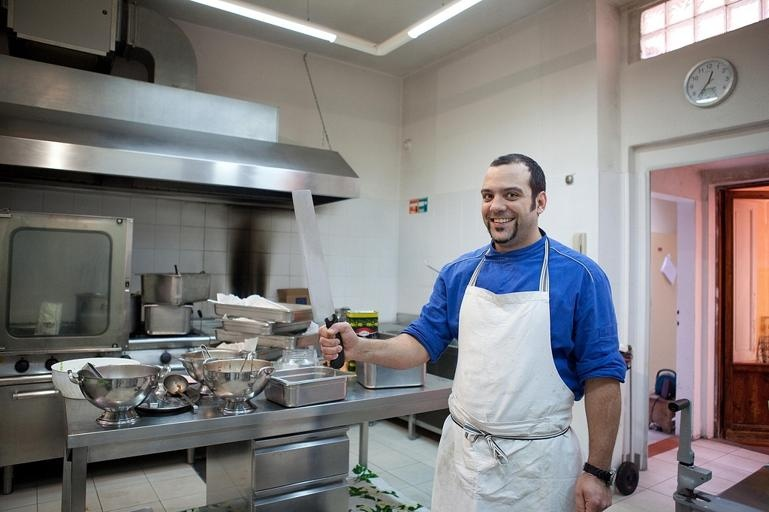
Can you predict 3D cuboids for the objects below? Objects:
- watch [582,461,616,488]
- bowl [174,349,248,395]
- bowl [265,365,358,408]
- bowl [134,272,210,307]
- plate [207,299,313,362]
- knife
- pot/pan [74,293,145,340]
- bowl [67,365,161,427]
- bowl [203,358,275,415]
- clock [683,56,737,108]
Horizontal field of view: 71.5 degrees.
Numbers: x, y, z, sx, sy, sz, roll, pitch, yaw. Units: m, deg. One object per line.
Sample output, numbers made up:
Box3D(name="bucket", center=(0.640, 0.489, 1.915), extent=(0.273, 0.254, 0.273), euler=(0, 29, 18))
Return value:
Box3D(name="watch", center=(1.027, 1.041, 2.567), extent=(0.119, 0.060, 0.117), euler=(22, -11, -7))
Box3D(name="bowl", center=(-1.114, 0.677, 3.185), extent=(0.214, 0.135, 0.305), euler=(-15, -3, -41))
Box3D(name="bowl", center=(-0.478, 0.787, 3.247), extent=(0.491, 0.141, 0.410), euler=(2, -2, -34))
Box3D(name="bowl", center=(-1.808, 0.277, 4.625), extent=(0.381, 0.190, 0.381), euler=(-1, -1, 0))
Box3D(name="plate", center=(-0.829, 0.466, 3.561), extent=(0.499, 0.163, 0.399), euler=(1, -1, 44))
Box3D(name="knife", center=(-0.418, -0.022, 2.916), extent=(0.188, 1.280, 0.069), euler=(-6, -14, -30))
Box3D(name="pot/pan", center=(-2.305, 0.475, 4.370), extent=(0.366, 0.277, 0.386), euler=(2, -2, -44))
Box3D(name="bowl", center=(-1.427, 0.727, 2.862), extent=(0.487, 0.306, 0.244), euler=(1, -2, -24))
Box3D(name="bowl", center=(-0.815, 0.680, 3.009), extent=(0.292, 0.210, 0.410), euler=(1, -4, -28))
Box3D(name="clock", center=(2.573, -1.367, 4.195), extent=(0.072, 0.501, 0.451), euler=(16, -15, -40))
